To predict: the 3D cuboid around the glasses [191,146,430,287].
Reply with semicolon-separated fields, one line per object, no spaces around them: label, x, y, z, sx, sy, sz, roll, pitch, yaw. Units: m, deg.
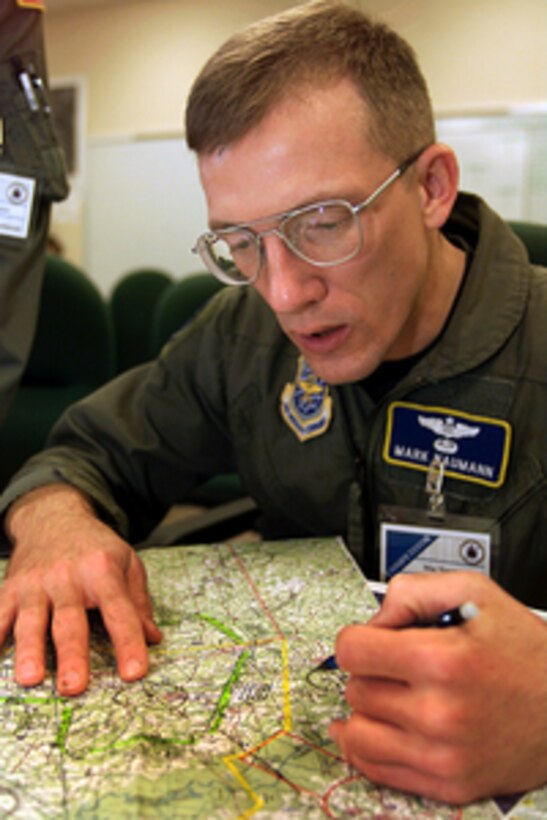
glasses;0.047;-0.187;0.769;0.201;0.060;0.211;-11;22;48
